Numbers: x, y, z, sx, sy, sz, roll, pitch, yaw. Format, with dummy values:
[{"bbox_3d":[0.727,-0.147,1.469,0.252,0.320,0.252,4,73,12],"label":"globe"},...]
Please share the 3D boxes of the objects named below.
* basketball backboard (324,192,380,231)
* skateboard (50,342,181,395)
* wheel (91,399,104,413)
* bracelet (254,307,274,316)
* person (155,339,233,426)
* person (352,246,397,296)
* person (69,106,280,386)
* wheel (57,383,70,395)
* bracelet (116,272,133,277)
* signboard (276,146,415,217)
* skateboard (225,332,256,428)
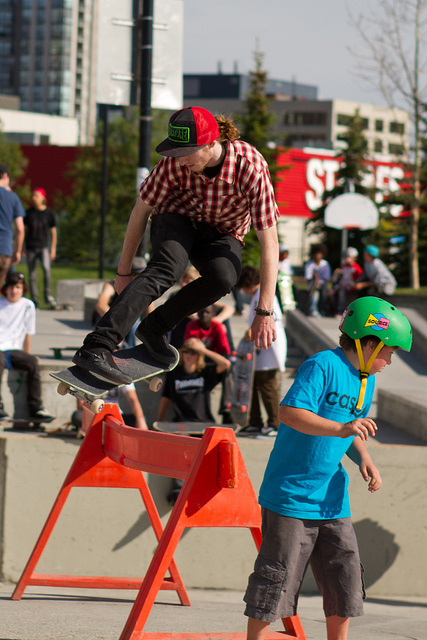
[{"bbox_3d":[2.769,-2.175,23.664,1.068,0.672,0.705,6,4,19],"label":"basketball backboard"},{"bbox_3d":[-0.507,0.272,6.347,0.241,0.133,0.808,28,27,26],"label":"skateboard"},{"bbox_3d":[-0.620,0.456,6.395,0.041,0.080,0.080,17,-11,21],"label":"wheel"},{"bbox_3d":[0.277,-0.047,6.439,0.095,0.044,0.057,4,4,-3],"label":"bracelet"},{"bbox_3d":[-0.190,0.499,9.444,0.697,0.826,0.449,0,5,23],"label":"person"},{"bbox_3d":[2.234,-0.681,16.511,0.527,0.684,0.917,5,4,3],"label":"person"},{"bbox_3d":[-0.133,-0.395,6.425,1.008,1.478,0.606,4,4,1],"label":"person"},{"bbox_3d":[-0.796,0.360,6.380,0.059,0.077,0.201,4,4,-10],"label":"wheel"},{"bbox_3d":[-0.501,-0.260,6.789,0.089,0.024,0.086,4,4,-4],"label":"bracelet"},{"bbox_3d":[5.146,-4.791,43.235,6.450,2.265,0.093,0,4,-22],"label":"signboard"},{"bbox_3d":[0.229,0.463,9.220,0.102,0.707,0.187,3,2,-40],"label":"skateboard"}]
